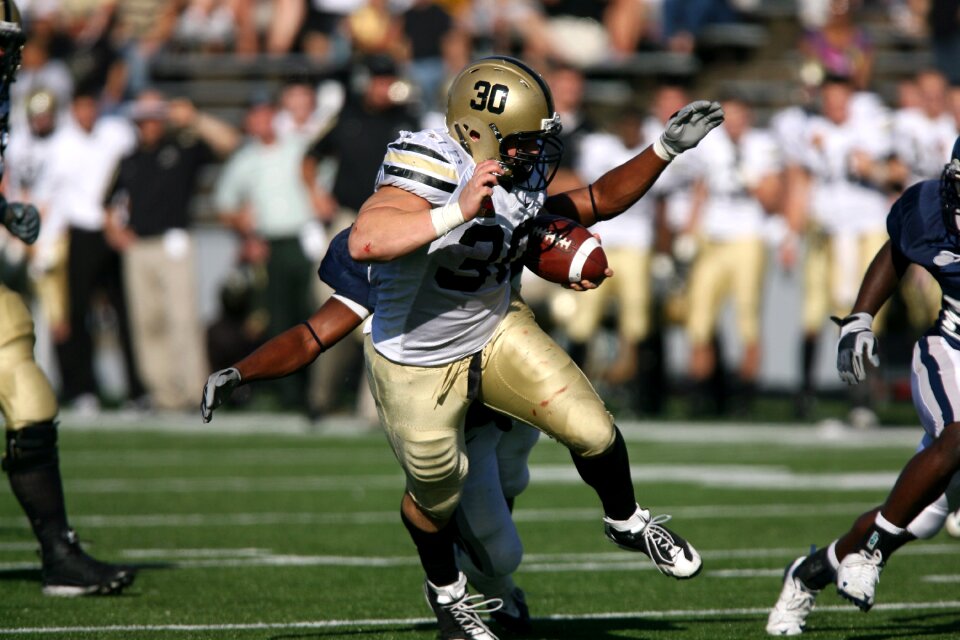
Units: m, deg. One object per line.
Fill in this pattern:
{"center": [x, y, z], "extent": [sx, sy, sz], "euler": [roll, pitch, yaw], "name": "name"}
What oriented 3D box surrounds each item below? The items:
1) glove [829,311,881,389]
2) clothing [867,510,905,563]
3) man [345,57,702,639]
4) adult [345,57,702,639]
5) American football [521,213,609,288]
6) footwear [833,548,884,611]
{"center": [1.585, 0.162, 6.203], "extent": [0.240, 0.132, 0.361], "euler": [-38, -6, 15], "name": "glove"}
{"center": [1.703, 0.911, 5.954], "extent": [0.224, 0.194, 0.085], "euler": [-1, 8, -14], "name": "clothing"}
{"center": [0.111, 0.134, 5.931], "extent": [1.309, 2.429, 0.640], "euler": [0, 8, -6], "name": "man"}
{"center": [0.110, 0.134, 5.931], "extent": [1.308, 2.429, 0.640], "euler": [0, 8, -6], "name": "adult"}
{"center": [0.347, -0.268, 5.953], "extent": [0.221, 0.352, 0.220], "euler": [-55, 1, -36], "name": "American football"}
{"center": [1.576, 1.075, 5.942], "extent": [0.147, 0.116, 0.322], "euler": [-44, 7, 6], "name": "footwear"}
